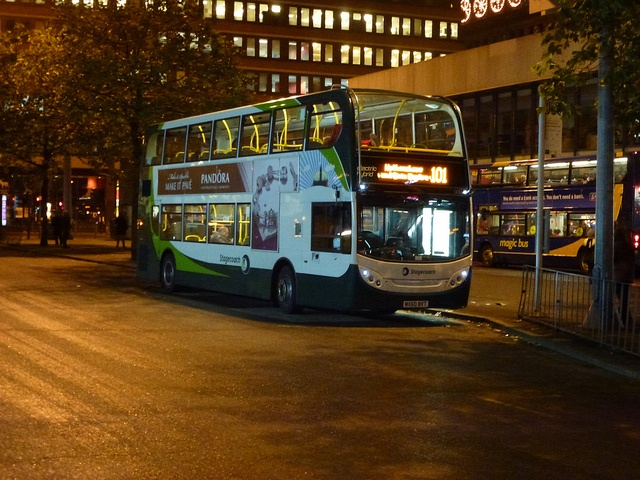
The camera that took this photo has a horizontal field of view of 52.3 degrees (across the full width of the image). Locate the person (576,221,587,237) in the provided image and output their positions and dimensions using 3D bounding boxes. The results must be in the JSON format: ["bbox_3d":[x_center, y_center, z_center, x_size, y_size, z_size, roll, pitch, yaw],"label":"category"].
[{"bbox_3d":[12.158,-0.499,30.295,0.200,0.738,0.698,0,2,-14],"label":"person"}]

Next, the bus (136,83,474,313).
[{"bbox_3d":[-1.279,-0.991,18.829,3.517,5.305,11.216,1,1,-40],"label":"bus"}]

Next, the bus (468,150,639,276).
[{"bbox_3d":[11.108,-1.195,31.619,2.797,5.569,9.676,0,2,-18],"label":"bus"}]

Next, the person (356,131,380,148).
[{"bbox_3d":[1.095,-2.191,14.309,0.203,0.317,0.707,0,5,14],"label":"person"}]
